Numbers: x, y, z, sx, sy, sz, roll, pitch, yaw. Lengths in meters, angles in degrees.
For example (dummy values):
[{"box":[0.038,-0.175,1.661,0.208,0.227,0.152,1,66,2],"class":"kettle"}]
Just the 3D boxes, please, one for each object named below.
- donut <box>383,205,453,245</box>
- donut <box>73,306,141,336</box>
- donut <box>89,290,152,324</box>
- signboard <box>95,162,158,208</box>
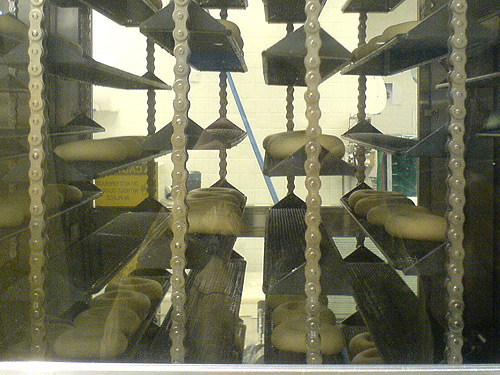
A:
[{"box":[0.473,0.122,1.345,0.189,0.175,0.069,4,-93,-10],"class":"donut"},{"box":[-0.412,0.382,1.323,0.114,0.115,0.038,2,-92,8],"class":"donut"},{"box":[-0.378,0.335,1.278,0.117,0.119,0.044,4,-89,2],"class":"donut"},{"box":[-0.351,-0.008,1.359,0.198,0.113,0.133,0,-92,26],"class":"signboard"}]
